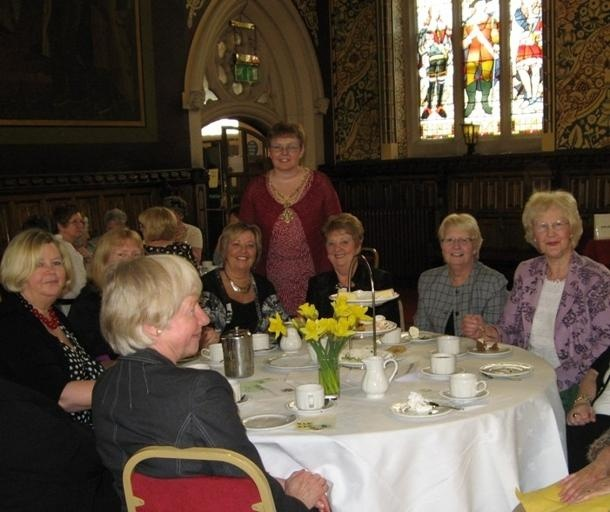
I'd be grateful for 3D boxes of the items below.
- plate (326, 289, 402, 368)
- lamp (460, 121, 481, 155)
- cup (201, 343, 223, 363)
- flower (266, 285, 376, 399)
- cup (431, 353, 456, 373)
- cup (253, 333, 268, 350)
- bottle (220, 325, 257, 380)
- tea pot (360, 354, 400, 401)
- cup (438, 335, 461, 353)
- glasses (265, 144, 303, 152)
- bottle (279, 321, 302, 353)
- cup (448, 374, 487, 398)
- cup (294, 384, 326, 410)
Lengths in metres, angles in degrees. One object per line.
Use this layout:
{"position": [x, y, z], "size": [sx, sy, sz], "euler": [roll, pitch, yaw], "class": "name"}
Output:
{"position": [0.326, 0.330, 2.498], "size": [0.384, 0.348, 0.356], "euler": [0, -1, -21], "class": "plate"}
{"position": [2.621, -1.822, 8.240], "size": [0.249, 0.524, 0.346], "euler": [-4, 7, 17], "class": "lamp"}
{"position": [-0.424, 0.446, 2.471], "size": [0.138, 0.089, 0.098], "euler": [-2, 1, -2], "class": "cup"}
{"position": [0.101, 0.377, 1.975], "size": [0.304, 0.301, 0.343], "euler": [-3, -3, 32], "class": "flower"}
{"position": [0.556, 0.434, 2.096], "size": [0.087, 0.053, 0.080], "euler": [-1, 7, 0], "class": "cup"}
{"position": [-0.215, 0.427, 2.606], "size": [0.094, 0.059, 0.066], "euler": [-4, 8, -11], "class": "cup"}
{"position": [-0.285, 0.413, 2.259], "size": [0.161, 0.198, 0.135], "euler": [-5, 0, -9], "class": "bottle"}
{"position": [0.277, 0.450, 1.956], "size": [0.166, 0.137, 0.110], "euler": [0, -2, -25], "class": "tea pot"}
{"position": [0.657, 0.402, 2.386], "size": [0.092, 0.059, 0.088], "euler": [-2, 9, 0], "class": "cup"}
{"position": [-0.128, -0.724, 3.560], "size": [0.215, 0.068, 0.085], "euler": [-5, 6, -5], "class": "glasses"}
{"position": [-0.062, 0.395, 2.542], "size": [0.157, 0.177, 0.145], "euler": [0, -6, 1], "class": "bottle"}
{"position": [0.571, 0.458, 1.861], "size": [0.140, 0.073, 0.084], "euler": [-1, 6, 18], "class": "cup"}
{"position": [0.018, 0.479, 1.767], "size": [0.073, 0.057, 0.090], "euler": [2, 9, 8], "class": "cup"}
